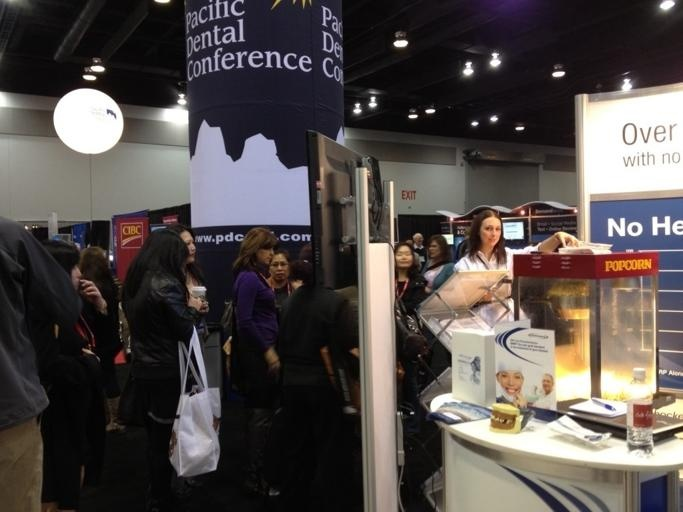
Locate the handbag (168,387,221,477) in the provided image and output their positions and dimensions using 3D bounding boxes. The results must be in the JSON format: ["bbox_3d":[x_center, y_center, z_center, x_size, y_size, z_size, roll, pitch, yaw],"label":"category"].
[{"bbox_3d":[-0.842,1.007,3.288,0.272,0.460,0.163,-2,4,-18],"label":"handbag"}]

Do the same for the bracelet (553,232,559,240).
[{"bbox_3d":[1.167,-0.113,3.123,0.018,0.027,0.027,-2,7,-15],"label":"bracelet"}]

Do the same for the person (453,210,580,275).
[{"bbox_3d":[1.006,-0.070,3.646,0.543,0.439,1.238,0,5,10],"label":"person"}]

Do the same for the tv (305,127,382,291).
[{"bbox_3d":[0.043,-0.200,2.596,0.252,0.675,0.586,1,4,17],"label":"tv"}]

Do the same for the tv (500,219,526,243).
[{"bbox_3d":[2.863,-0.434,9.520,0.375,0.369,0.130,0,-2,15],"label":"tv"}]

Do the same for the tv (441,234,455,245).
[{"bbox_3d":[1.573,-0.248,8.456,0.252,0.029,0.281,5,40,-14],"label":"tv"}]

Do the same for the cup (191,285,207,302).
[{"bbox_3d":[-0.928,0.233,3.666,0.119,0.131,0.127,1,0,0],"label":"cup"}]
